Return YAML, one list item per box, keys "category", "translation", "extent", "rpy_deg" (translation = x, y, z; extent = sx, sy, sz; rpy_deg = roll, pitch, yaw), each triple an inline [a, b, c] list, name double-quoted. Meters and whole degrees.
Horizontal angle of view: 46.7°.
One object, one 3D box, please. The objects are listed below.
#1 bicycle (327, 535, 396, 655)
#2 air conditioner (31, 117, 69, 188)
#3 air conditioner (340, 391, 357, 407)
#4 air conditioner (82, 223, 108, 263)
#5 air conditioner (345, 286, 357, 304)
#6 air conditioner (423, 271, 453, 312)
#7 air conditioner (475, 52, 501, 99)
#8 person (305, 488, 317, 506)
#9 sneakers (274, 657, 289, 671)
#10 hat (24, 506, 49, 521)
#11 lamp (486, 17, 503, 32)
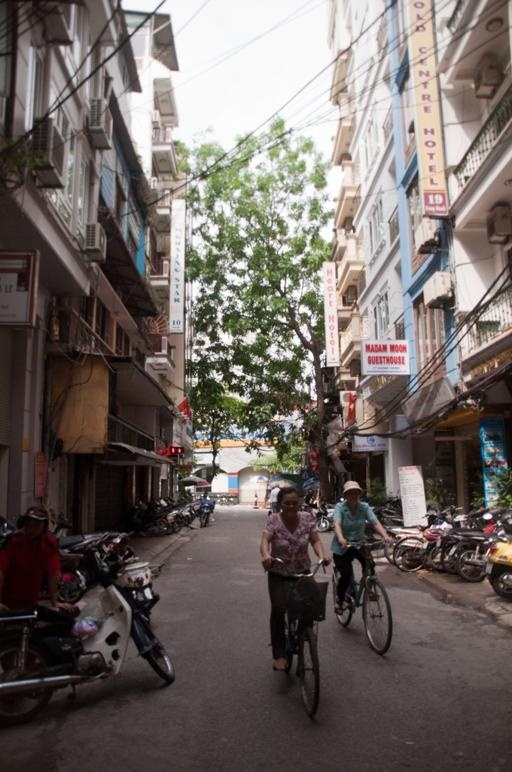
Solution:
- category: "bicycle"
  translation: [0.931, 2.153, 5.856]
  extent: [0.596, 0.807, 1.277]
  rpy_deg: [1, -14, -6]
- category: "air conditioner"
  translation: [-2.910, -3.320, 8.424]
  extent: [0.213, 0.647, 0.684]
  rpy_deg: [3, 0, 4]
- category: "air conditioner"
  translation: [5.210, 0.795, 32.975]
  extent: [1.215, 0.963, 0.720]
  rpy_deg: [-5, -16, 17]
- category: "air conditioner"
  translation: [-3.378, -3.089, 12.456]
  extent: [0.422, 0.867, 0.707]
  rpy_deg: [3, -10, -4]
- category: "air conditioner"
  translation: [5.712, -5.410, 35.768]
  extent: [0.549, 0.934, 1.431]
  rpy_deg: [3, -10, -5]
- category: "air conditioner"
  translation: [4.882, -2.562, 15.617]
  extent: [0.514, 0.776, 0.730]
  rpy_deg: [1, -10, 3]
- category: "air conditioner"
  translation: [5.565, -7.372, 14.175]
  extent: [0.451, 0.544, 1.489]
  rpy_deg: [1, 5, 11]
- category: "person"
  translation: [2.767, 5.241, 28.363]
  extent: [0.525, 0.947, 0.865]
  rpy_deg: [-1, -13, -6]
- category: "sneakers"
  translation: [0.198, 2.142, 4.566]
  extent: [0.080, 0.102, 0.153]
  rpy_deg: [0, -23, -1]
- category: "hat"
  translation: [-1.532, 0.887, 4.146]
  extent: [0.108, 0.154, 0.133]
  rpy_deg: [6, -3, -4]
- category: "lamp"
  translation: [5.177, -7.815, 12.795]
  extent: [0.351, 0.098, 0.494]
  rpy_deg: [-2, -11, 21]
